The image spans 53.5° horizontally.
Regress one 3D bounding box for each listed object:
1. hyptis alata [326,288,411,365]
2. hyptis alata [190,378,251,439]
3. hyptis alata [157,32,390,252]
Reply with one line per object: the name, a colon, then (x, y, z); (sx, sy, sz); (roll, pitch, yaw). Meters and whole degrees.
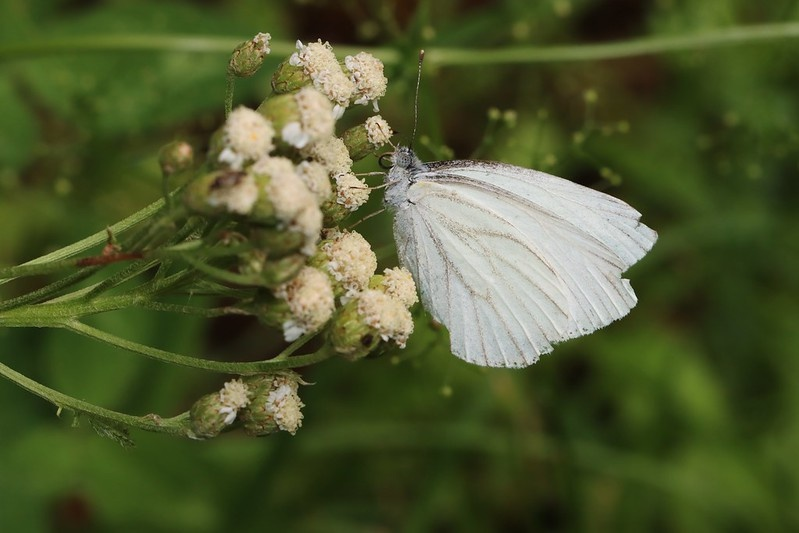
hyptis alata: (-0.141, 0.272, 4.123); (0.351, 0.367, 0.360); (26, 99, 30)
hyptis alata: (-0.903, 0.729, 4.043); (0.207, 0.271, 0.349); (11, 104, 42)
hyptis alata: (-0.563, -0.669, 3.918); (0.903, 0.458, 1.275); (17, 78, -23)
